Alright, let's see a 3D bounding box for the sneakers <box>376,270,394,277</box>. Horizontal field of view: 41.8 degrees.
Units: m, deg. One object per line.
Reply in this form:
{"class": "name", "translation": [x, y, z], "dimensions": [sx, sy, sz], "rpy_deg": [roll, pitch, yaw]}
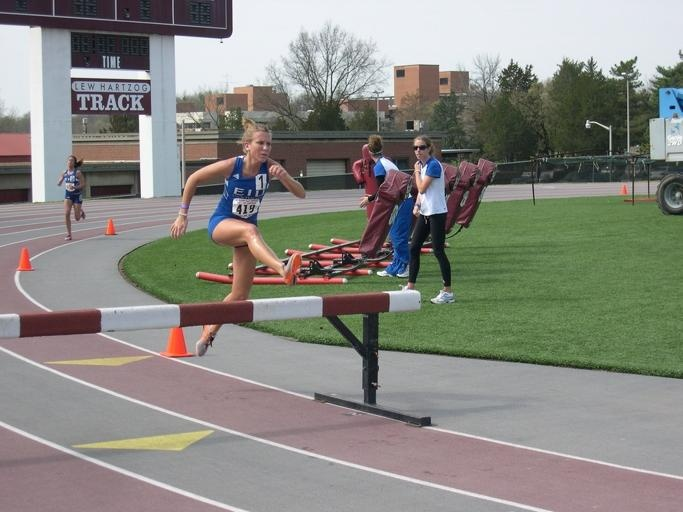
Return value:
{"class": "sneakers", "translation": [0.721, 0.311, 15.016], "dimensions": [0.249, 0.111, 0.091], "rpy_deg": [4, -13, 43]}

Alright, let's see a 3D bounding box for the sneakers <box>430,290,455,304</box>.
{"class": "sneakers", "translation": [1.346, 0.572, 12.224], "dimensions": [0.377, 0.186, 0.141], "rpy_deg": [-4, 6, -10]}

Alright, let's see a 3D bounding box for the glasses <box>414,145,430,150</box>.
{"class": "glasses", "translation": [1.054, -1.445, 11.872], "dimensions": [0.216, 0.093, 0.193], "rpy_deg": [3, 10, 14]}

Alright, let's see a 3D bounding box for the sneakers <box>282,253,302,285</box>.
{"class": "sneakers", "translation": [-0.454, 0.135, 8.360], "dimensions": [0.113, 0.319, 0.129], "rpy_deg": [1, 27, -31]}
